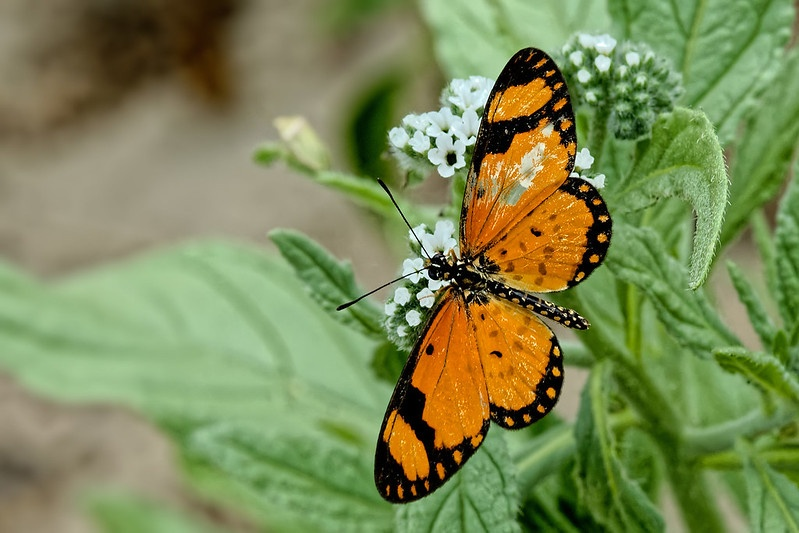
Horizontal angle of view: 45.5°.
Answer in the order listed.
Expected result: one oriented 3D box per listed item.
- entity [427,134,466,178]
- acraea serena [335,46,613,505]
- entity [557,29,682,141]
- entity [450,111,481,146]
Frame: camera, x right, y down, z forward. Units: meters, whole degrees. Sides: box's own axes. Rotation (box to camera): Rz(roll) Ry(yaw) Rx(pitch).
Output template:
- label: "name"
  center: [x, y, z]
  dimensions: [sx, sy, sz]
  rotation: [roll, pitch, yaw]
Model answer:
- label: "entity"
  center: [0.052, -0.116, 0.978]
  dimensions: [0.031, 0.012, 0.034]
  rotation: [15, -7, 2]
- label: "acraea serena"
  center: [0.086, 0.004, 0.958]
  dimensions: [0.283, 0.397, 0.172]
  rotation: [-9, 27, -8]
- label: "entity"
  center: [0.230, -0.195, 1.011]
  dimensions: [0.104, 0.123, 0.073]
  rotation: [3, 30, 15]
- label: "entity"
  center: [0.067, -0.139, 0.970]
  dimensions: [0.031, 0.034, 0.017]
  rotation: [-9, -8, 22]
